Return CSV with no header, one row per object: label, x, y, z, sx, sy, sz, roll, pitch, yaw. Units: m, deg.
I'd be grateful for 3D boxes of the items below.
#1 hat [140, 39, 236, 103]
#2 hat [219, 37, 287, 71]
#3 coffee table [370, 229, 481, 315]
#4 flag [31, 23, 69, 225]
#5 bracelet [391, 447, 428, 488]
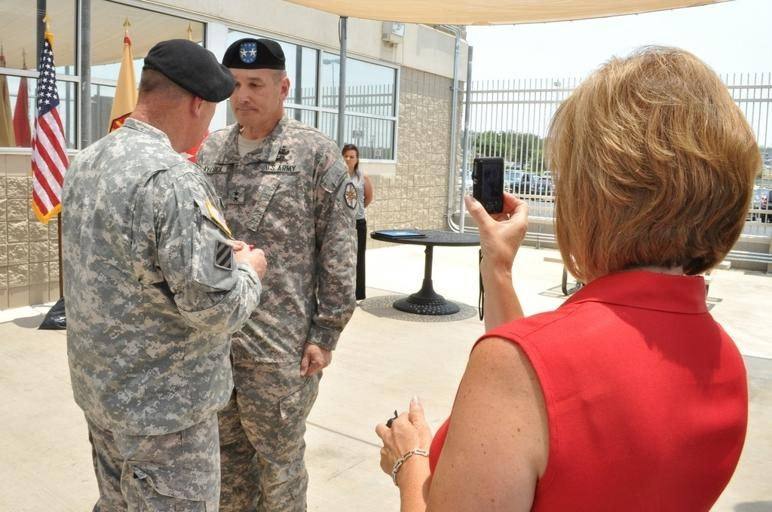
hat,-0.724,-0.687,2.397,0.254,0.099,0.276,45,26,24
hat,-0.632,-0.947,3.057,0.316,0.118,0.395,-2,15,-7
coffee table,0.492,0.187,7.595,1.180,0.778,1.148,6,2,28
flag,-3.303,-1.270,6.246,0.323,1.881,0.338,-3,12,-21
bracelet,0.067,0.604,1.871,0.041,0.111,0.081,47,1,-42
